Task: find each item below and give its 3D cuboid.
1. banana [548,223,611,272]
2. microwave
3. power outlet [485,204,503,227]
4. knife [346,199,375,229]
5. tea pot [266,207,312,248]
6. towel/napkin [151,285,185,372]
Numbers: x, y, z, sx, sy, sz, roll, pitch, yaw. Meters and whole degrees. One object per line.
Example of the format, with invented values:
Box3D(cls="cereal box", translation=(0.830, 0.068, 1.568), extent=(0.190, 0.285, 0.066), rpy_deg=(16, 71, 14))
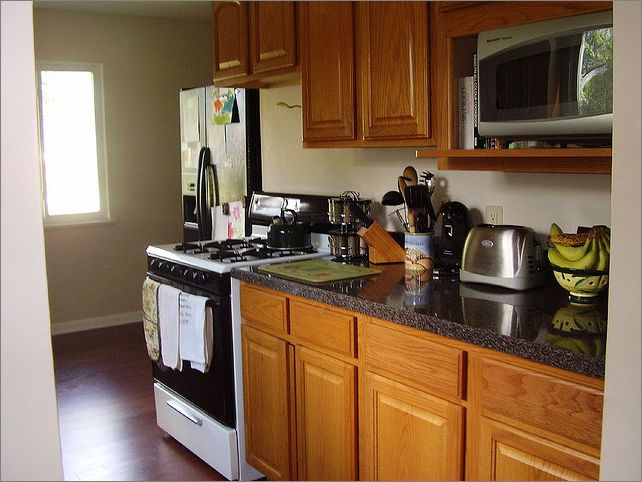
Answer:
Box3D(cls="banana", translation=(0.878, 0.017, 1.669), extent=(0.180, 0.143, 0.131), rpy_deg=(4, 11, 26))
Box3D(cls="microwave", translation=(0.772, -0.489, 1.672), extent=(0.399, 0.449, 0.304), rpy_deg=(11, 16, 40))
Box3D(cls="power outlet", translation=(0.784, -0.114, 2.211), extent=(0.012, 0.110, 0.089), rpy_deg=(-6, 11, -34))
Box3D(cls="knife", translation=(0.195, -0.137, 2.533), extent=(0.066, 0.182, 0.033), rpy_deg=(-45, 22, -24))
Box3D(cls="tea pot", translation=(-0.200, -0.102, 2.872), extent=(0.217, 0.242, 0.232), rpy_deg=(1, 7, 0))
Box3D(cls="towel/napkin", translation=(-0.823, 0.469, 2.652), extent=(0.145, 0.418, 0.228), rpy_deg=(-7, 15, -31))
